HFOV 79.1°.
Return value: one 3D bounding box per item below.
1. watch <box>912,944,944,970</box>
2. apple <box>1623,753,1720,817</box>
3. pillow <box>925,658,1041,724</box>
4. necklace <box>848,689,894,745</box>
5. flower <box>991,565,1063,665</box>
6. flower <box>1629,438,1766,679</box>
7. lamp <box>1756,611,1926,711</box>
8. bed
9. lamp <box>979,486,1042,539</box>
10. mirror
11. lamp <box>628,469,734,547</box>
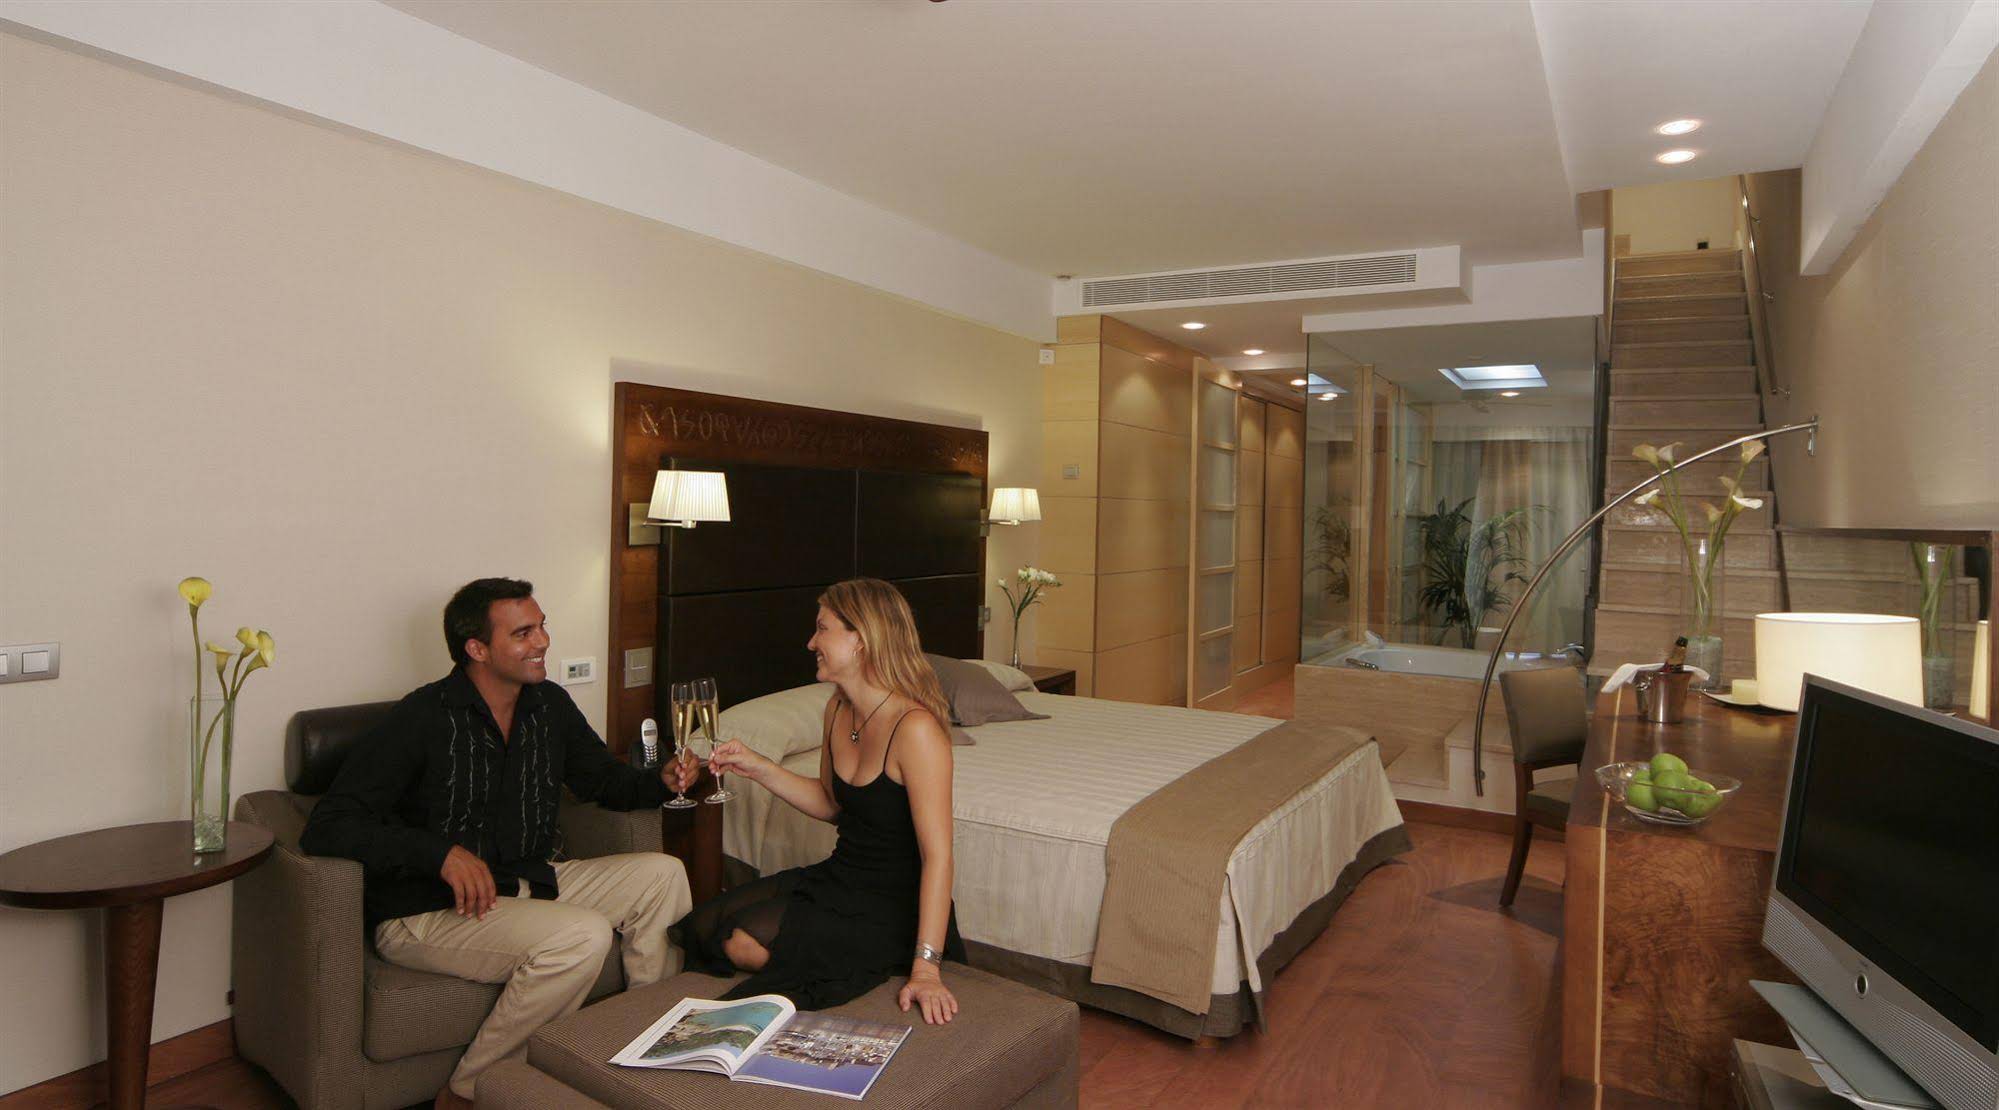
[{"bbox_3d":[-0.254,1.446,4.359,0.084,0.059,0.081,3,-5,-8],"label":"watch"},{"bbox_3d":[2.316,0.809,4.158,0.244,0.128,0.243,-2,4,-8],"label":"apple"},{"bbox_3d":[-0.126,0.786,6.766,0.461,0.144,0.502,2,0,-29],"label":"pillow"},{"bbox_3d":[-0.481,0.609,4.546,0.220,0.195,0.114,-4,-4,32],"label":"necklace"},{"bbox_3d":[0.144,0.440,8.352,0.561,0.646,0.415,4,2,-27],"label":"flower"},{"bbox_3d":[4.312,-0.032,7.505,0.730,1.196,0.730,-2,3,36],"label":"flower"},{"bbox_3d":[3.342,0.379,4.871,0.590,0.336,0.565,-1,-1,4],"label":"lamp"},{"bbox_3d":[0.315,0.895,6.503,3.074,1.898,2.383,6,10,33],"label":"bed"},{"bbox_3d":[0.048,-0.275,8.019,0.344,0.253,0.325,-3,-2,41],"label":"lamp"},{"bbox_3d":[3.310,0.277,4.500,0.301,0.753,0.841,-3,2,-4],"label":"mirror"},{"bbox_3d":[-1.631,-0.233,5.985,0.532,0.334,0.336,-4,9,-27],"label":"lamp"}]
